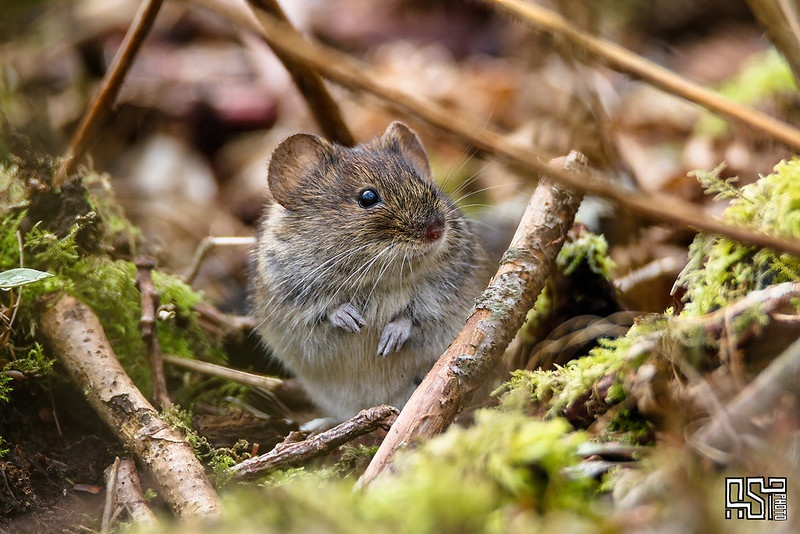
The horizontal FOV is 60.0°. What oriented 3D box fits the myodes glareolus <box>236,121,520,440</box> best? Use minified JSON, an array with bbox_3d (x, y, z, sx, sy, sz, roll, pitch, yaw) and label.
[{"bbox_3d":[-0.291,0.025,5.869,1.921,2.571,0.880,-10,1,-9],"label":"myodes glareolus"}]
